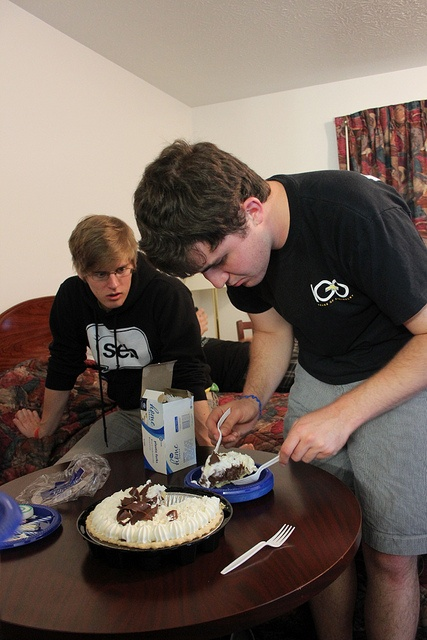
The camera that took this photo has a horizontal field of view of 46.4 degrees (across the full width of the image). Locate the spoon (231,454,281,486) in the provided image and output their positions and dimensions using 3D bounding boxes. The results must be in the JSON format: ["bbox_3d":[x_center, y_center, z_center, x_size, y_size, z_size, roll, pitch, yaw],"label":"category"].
[{"bbox_3d":[0.089,0.307,1.016,0.044,0.026,0.146,21,23,28],"label":"spoon"}]

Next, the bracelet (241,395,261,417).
[{"bbox_3d":[0.101,0.233,1.366,0.046,0.021,0.054,-7,18,-42],"label":"bracelet"}]

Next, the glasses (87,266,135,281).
[{"bbox_3d":[-0.347,-0.167,1.776,0.066,0.051,0.168,-1,4,41],"label":"glasses"}]

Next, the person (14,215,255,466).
[{"bbox_3d":[-0.411,0.118,1.862,0.829,0.940,0.613,-4,19,5],"label":"person"}]

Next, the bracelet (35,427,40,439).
[{"bbox_3d":[-0.687,0.440,1.931,0.008,0.030,0.029,22,30,-40],"label":"bracelet"}]

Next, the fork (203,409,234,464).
[{"bbox_3d":[0.013,0.257,1.127,0.024,0.136,0.033,-5,-28,41],"label":"fork"}]

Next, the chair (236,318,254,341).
[{"bbox_3d":[0.284,0.092,4.320,0.160,0.260,0.171,0,0,-11],"label":"chair"}]

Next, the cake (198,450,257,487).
[{"bbox_3d":[0.030,0.313,1.041,0.096,0.033,0.063,-12,9,-36],"label":"cake"}]
